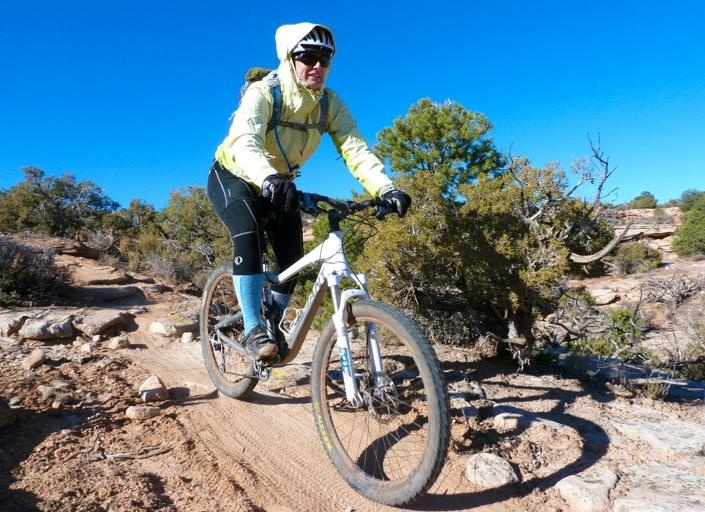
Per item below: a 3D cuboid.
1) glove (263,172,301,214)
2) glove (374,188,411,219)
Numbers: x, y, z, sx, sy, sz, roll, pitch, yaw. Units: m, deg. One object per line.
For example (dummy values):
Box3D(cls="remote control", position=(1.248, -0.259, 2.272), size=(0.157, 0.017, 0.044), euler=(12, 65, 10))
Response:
Box3D(cls="glove", position=(-0.632, -0.554, 3.991), size=(0.333, 0.298, 0.210), euler=(2, 10, -1))
Box3D(cls="glove", position=(0.412, -0.445, 4.395), size=(0.274, 0.290, 0.136), euler=(3, -40, 18))
